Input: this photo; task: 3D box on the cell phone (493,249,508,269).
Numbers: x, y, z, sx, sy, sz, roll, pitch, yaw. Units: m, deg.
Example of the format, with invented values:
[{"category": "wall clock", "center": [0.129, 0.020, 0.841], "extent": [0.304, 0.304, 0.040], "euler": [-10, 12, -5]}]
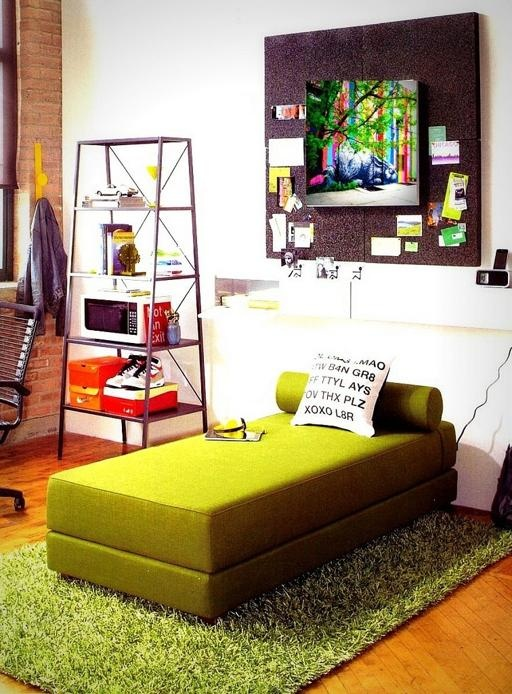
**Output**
[{"category": "cell phone", "center": [1.159, -0.417, 2.708], "extent": [0.070, 0.098, 0.052], "euler": [0, -2, 11]}]

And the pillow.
[{"category": "pillow", "center": [0.421, 0.225, 2.794], "extent": [0.419, 0.411, 0.130], "euler": [4, -20, 46]}]

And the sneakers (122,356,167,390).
[{"category": "sneakers", "center": [-0.737, 0.175, 3.701], "extent": [0.124, 0.168, 0.374], "euler": [0, -1, 30]}]

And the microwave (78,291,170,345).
[{"category": "microwave", "center": [-0.859, -0.191, 3.751], "extent": [0.553, 0.338, 0.358], "euler": [5, 7, 34]}]

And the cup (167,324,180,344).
[{"category": "cup", "center": [-0.531, -0.085, 3.729], "extent": [0.075, 0.149, 0.091], "euler": [1, -2, -18]}]
